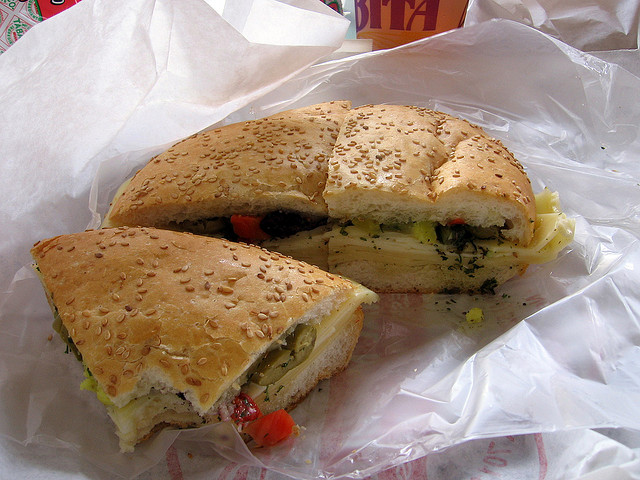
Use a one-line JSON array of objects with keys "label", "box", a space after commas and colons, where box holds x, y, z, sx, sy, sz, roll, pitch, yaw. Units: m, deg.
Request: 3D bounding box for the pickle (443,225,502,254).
[{"label": "pickle", "box": [0.853, -0.020, 2.918, 0.332, 0.115, 0.120, -16, 53, -12]}]

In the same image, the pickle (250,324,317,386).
[{"label": "pickle", "box": [-0.153, 0.518, 2.351, 0.316, 0.249, 0.103, -1, 6, -29]}]

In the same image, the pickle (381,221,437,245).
[{"label": "pickle", "box": [0.500, -0.052, 2.904, 0.309, 0.109, 0.097, 8, 53, 8]}]
